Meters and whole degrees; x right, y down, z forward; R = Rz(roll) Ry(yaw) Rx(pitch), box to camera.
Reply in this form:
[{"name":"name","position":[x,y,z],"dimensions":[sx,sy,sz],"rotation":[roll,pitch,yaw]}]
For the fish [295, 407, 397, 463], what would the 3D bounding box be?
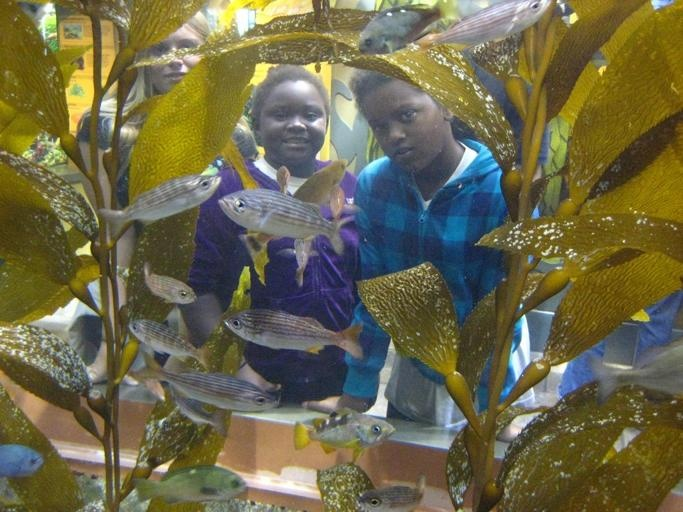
[{"name":"fish","position":[0.001,0.247,0.858],"dimensions":[0.136,0.071,0.038],"rotation":[-3,-1,9]}]
